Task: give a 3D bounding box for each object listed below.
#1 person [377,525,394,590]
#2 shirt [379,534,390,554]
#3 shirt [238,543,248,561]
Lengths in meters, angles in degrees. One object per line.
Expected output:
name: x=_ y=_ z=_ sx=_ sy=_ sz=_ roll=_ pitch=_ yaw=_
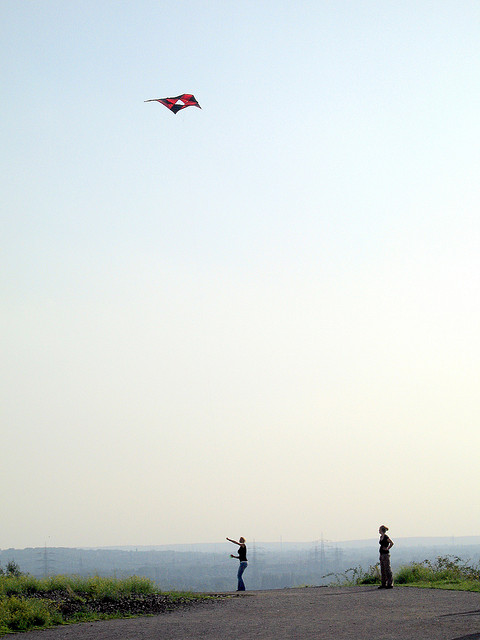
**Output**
person: x=4.627 y=7.455 z=30.146 sx=0.486 sy=1.898 sz=1.444 roll=-1 pitch=-10 yaw=9
shirt: x=4.558 y=7.016 z=30.028 sx=0.355 sy=0.550 sz=0.417 roll=-4 pitch=-10 yaw=23
shirt: x=0.100 y=7.744 z=31.978 sx=0.274 sy=0.510 sz=0.525 roll=1 pitch=-10 yaw=-4
